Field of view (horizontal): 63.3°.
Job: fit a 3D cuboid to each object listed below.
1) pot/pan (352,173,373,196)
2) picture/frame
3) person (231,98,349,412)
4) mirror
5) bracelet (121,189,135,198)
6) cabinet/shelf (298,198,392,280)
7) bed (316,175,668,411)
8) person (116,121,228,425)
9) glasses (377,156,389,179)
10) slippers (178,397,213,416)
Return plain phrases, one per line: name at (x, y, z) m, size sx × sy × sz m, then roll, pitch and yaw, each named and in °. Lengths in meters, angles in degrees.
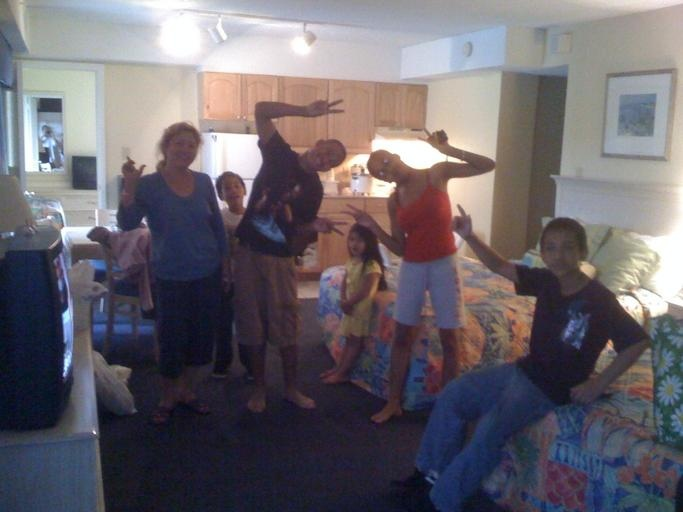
pot/pan at (0.229, -0.866, 6.683) m, size 0.239 × 0.210 × 0.230 m, roll -3°, pitch 8°, yaw -29°
picture/frame at (2.384, -1.131, 4.397) m, size 0.058 × 0.878 × 0.740 m, roll -3°, pitch 9°, yaw -32°
person at (-0.322, 0.028, 3.205) m, size 0.609 × 1.787 × 0.241 m, roll -2°, pitch 14°, yaw -12°
mirror at (-3.971, -1.642, 7.401) m, size 0.523 × 1.048 × 0.225 m, roll -6°, pitch 16°, yaw -26°
bracelet at (-1.153, -0.338, 2.954) m, size 0.100 × 0.035 × 0.054 m, roll 14°, pitch 19°, yaw 41°
cabinet/shelf at (-0.003, -0.120, 4.384) m, size 0.885 × 0.827 × 0.452 m, roll -1°, pitch 4°, yaw -21°
bed at (1.104, 0.250, 3.676) m, size 1.759 × 0.886 × 1.256 m, roll -1°, pitch 12°, yaw -26°
person at (-0.935, -0.026, 3.122) m, size 0.576 × 1.401 × 0.320 m, roll -5°, pitch 15°, yaw -22°
glasses at (0.232, -0.489, 3.103) m, size 0.045 × 0.125 × 0.073 m, roll -5°, pitch 15°, yaw -21°
slippers at (-0.861, 0.879, 3.310) m, size 0.215 × 0.087 × 0.080 m, roll 4°, pitch 5°, yaw 14°
